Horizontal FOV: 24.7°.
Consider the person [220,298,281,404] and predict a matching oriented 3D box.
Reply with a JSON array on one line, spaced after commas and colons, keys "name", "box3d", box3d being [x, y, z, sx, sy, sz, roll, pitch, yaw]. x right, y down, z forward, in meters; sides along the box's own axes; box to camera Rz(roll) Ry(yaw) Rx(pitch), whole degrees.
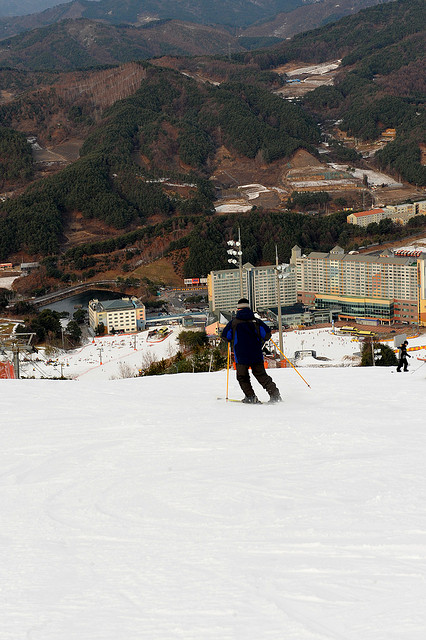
[{"name": "person", "box3d": [0.315, 0.261, 8.173, 0.462, 0.914, 0.459, -2, 6, 17]}]
